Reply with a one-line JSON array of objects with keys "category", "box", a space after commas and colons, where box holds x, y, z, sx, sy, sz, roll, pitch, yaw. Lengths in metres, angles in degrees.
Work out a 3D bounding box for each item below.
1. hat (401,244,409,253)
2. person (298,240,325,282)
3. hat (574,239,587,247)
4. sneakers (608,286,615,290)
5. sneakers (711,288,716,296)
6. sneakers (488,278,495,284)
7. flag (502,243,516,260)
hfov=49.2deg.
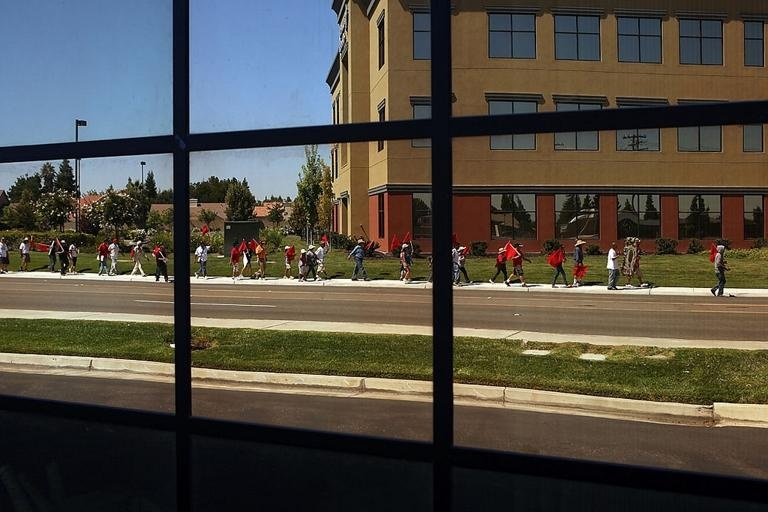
[{"category": "hat", "box": [0.845, -0.303, 33.725, 0.349, 0.415, 1.243, 7, 2, 3]}, {"category": "person", "box": [-3.188, 0.322, 36.666, 1.050, 1.471, 2.225, 7, 2, -7]}, {"category": "hat", "box": [8.794, -0.602, 37.827, 0.385, 0.124, 0.396, -2, 13, 40]}, {"category": "sneakers", "box": [9.045, 1.271, 33.658, 0.311, 0.145, 0.102, -4, 33, -4]}, {"category": "sneakers", "box": [12.567, 1.376, 32.238, 0.177, 0.222, 0.508, -3, 14, 23]}, {"category": "sneakers", "box": [4.856, 1.143, 38.185, 0.181, 0.262, 0.562, -1, -2, -5]}, {"category": "flag", "box": [4.739, -0.163, 32.136, 0.075, 0.716, 0.671, 4, 13, 32]}]
